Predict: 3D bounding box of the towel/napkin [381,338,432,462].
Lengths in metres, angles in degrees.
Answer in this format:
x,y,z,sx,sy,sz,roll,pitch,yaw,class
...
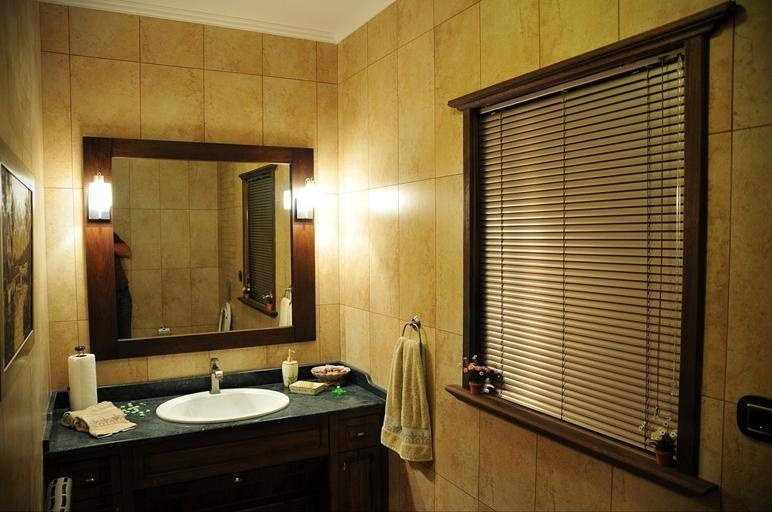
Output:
x,y,z,sx,sy,sz,roll,pitch,yaw,class
0.117,0.785,3.286,0.118,0.642,0.289,-3,4,-43,towel/napkin

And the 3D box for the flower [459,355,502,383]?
x,y,z,sx,sy,sz,roll,pitch,yaw,class
0.475,0.553,2.925,0.157,0.092,0.201,-1,-2,5,flower

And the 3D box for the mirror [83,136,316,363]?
x,y,z,sx,sy,sz,roll,pitch,yaw,class
-1.127,-0.043,3.808,1.422,1.373,0.074,-2,4,-29,mirror

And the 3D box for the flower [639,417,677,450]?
x,y,z,sx,sy,sz,roll,pitch,yaw,class
1.046,0.683,2.294,0.145,0.137,0.072,2,4,38,flower

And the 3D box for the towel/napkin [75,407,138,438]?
x,y,z,sx,sy,sz,roll,pitch,yaw,class
-1.525,0.883,3.208,0.316,0.099,0.251,2,4,40,towel/napkin

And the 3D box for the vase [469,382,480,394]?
x,y,z,sx,sy,sz,roll,pitch,yaw,class
0.439,0.647,2.908,0.055,0.039,0.054,-1,6,-32,vase

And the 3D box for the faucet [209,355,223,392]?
x,y,z,sx,sy,sz,roll,pitch,yaw,class
-1.062,0.735,3.723,0.074,0.220,0.203,-1,3,-15,faucet

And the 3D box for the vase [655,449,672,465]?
x,y,z,sx,sy,sz,roll,pitch,yaw,class
1.054,0.759,2.259,0.056,0.041,0.056,3,-4,-4,vase
